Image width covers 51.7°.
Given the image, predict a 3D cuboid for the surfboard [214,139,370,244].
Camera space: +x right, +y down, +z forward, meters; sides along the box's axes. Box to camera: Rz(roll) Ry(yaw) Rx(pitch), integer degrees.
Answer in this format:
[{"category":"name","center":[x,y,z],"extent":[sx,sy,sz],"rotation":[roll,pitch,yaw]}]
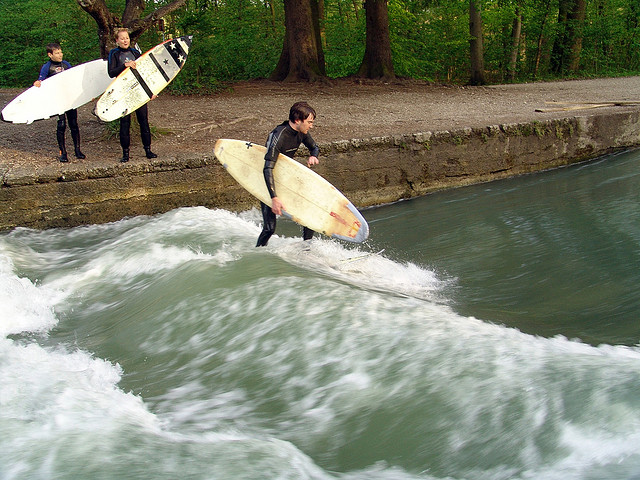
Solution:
[{"category":"surfboard","center":[-0.442,-0.583,8.254],"extent":[1.789,0.407,1.500],"rotation":[20,5,-2]}]

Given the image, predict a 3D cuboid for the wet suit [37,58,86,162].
[{"category":"wet suit","center":[-3.546,-1.793,9.121],"extent":[0.463,1.399,0.791],"rotation":[-11,21,-16]}]

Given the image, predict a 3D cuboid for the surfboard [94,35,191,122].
[{"category":"surfboard","center":[-2.442,-2.217,9.050],"extent":[0.475,1.083,1.505],"rotation":[7,19,28]}]

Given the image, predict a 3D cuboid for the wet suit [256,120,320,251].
[{"category":"wet suit","center":[-0.422,-0.561,7.447],"extent":[0.557,1.568,0.822],"rotation":[15,28,41]}]

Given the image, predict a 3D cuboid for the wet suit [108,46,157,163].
[{"category":"wet suit","center":[-2.607,-1.839,9.013],"extent":[0.530,1.540,0.667],"rotation":[-9,21,-10]}]
